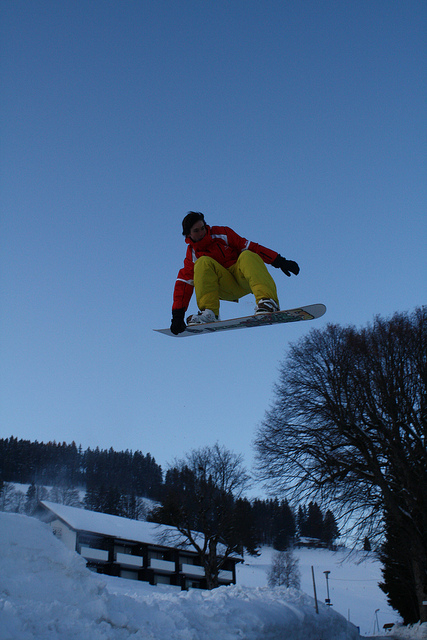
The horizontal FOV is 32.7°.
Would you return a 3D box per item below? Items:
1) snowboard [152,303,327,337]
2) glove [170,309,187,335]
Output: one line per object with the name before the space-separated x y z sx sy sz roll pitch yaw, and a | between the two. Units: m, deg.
snowboard | 0.324 -0.024 9.600 1.909 0.096 0.288 -8 -51 18
glove | -0.502 0.020 10.228 0.234 0.487 0.162 -3 -27 8
